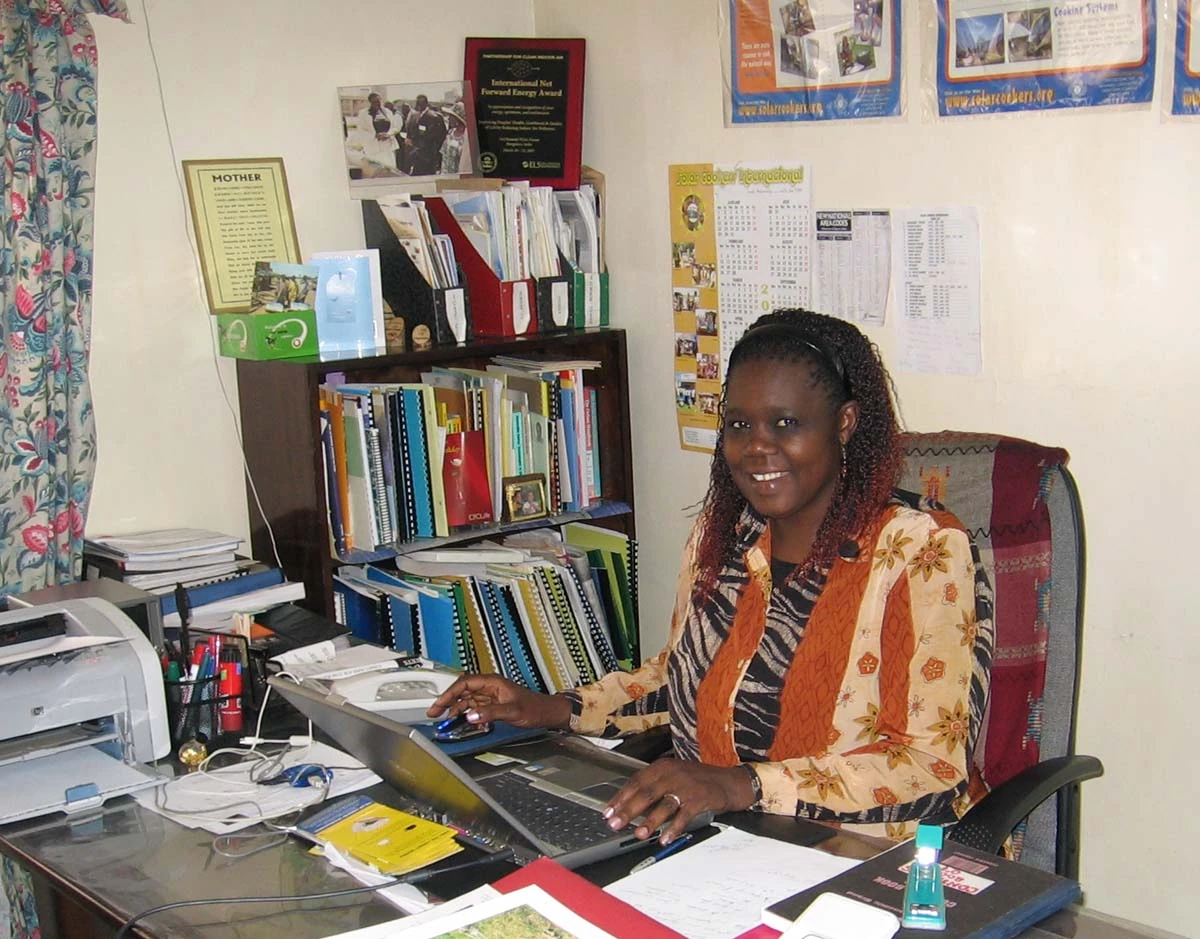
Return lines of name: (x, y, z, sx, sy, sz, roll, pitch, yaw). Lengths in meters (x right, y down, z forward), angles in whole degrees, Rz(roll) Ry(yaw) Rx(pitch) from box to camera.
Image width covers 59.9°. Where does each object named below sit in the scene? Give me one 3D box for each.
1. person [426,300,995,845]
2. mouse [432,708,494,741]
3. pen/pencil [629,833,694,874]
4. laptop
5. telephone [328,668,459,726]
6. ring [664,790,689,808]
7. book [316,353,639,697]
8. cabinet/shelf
person: (0.295, 0.154, 2.295, 0.986, 1.355, 0.870, -2, 3, -29)
mouse: (-0.246, 0.433, 1.789, 0.076, 0.023, 0.052, -3, 5, -39)
pen/pencil: (0.081, 0.522, 1.411, 0.013, 0.010, 0.091, 18, 26, 32)
laptop: (-0.114, 0.463, 1.525, 0.320, 0.176, 0.321, -13, 16, -41)
telephone: (-0.362, 0.402, 1.873, 0.154, 0.038, 0.106, 2, 0, -26)
ring: (0.107, 0.466, 1.467, 0.019, 0.021, 0.009, -2, 1, 5)
book: (-0.365, 0.161, 2.900, 0.953, 1.039, 0.324, -10, 10, -44)
cabinet/shelf: (-0.472, 0.119, 2.837, 1.031, 0.819, 0.431, -10, 12, -36)
